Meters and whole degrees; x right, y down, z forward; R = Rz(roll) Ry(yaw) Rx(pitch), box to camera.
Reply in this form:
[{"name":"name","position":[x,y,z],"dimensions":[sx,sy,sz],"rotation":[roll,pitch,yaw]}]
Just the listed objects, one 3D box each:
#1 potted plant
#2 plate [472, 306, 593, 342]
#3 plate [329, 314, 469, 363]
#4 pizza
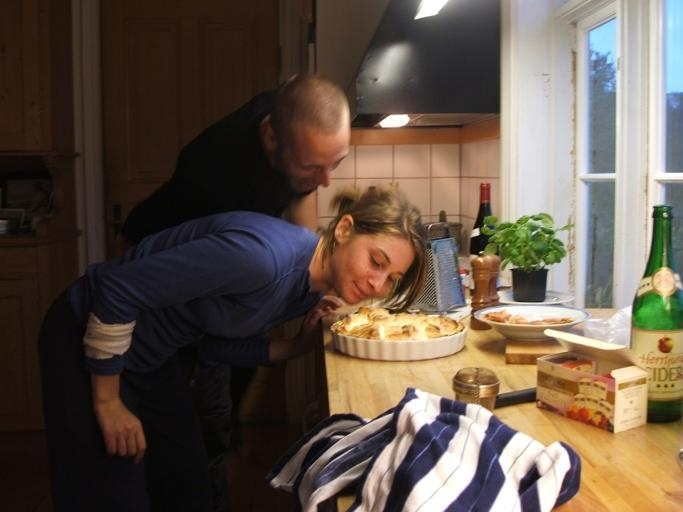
[{"name":"potted plant","position":[0.514,0.016,1.526],"dimensions":[0.225,0.216,0.246],"rotation":[7,8,43]},{"name":"plate","position":[0.487,0.152,1.285],"dimensions":[0.181,0.039,0.177],"rotation":[-8,11,-41]},{"name":"plate","position":[0.132,0.211,1.417],"dimensions":[0.376,0.058,0.358],"rotation":[1,1,-3]},{"name":"pizza","position":[0.148,0.174,1.397],"dimensions":[0.351,0.058,0.365],"rotation":[0,4,4]}]
